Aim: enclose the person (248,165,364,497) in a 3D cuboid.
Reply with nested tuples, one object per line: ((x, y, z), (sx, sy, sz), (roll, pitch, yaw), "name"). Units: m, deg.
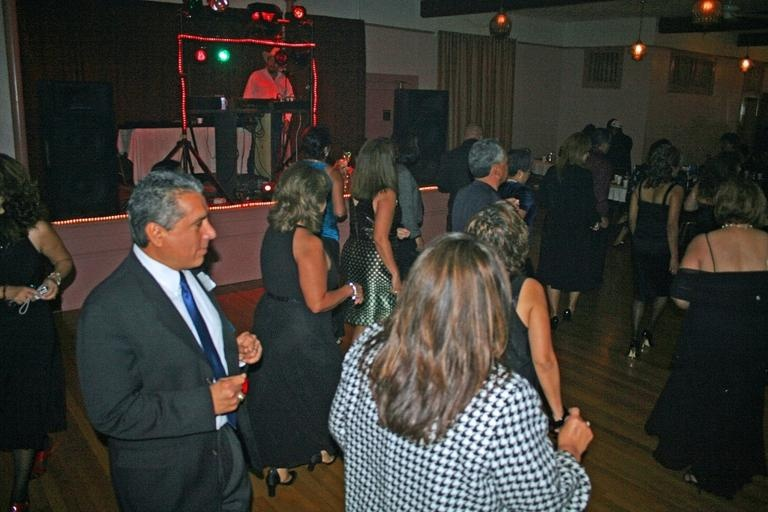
((-0.543, 0.496, 3.728), (0.665, 2.089, 0.374), (-1, 13, -5), "person")

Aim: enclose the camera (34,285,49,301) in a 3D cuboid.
((-1.966, 0.207, 3.389), (0.074, 0.053, 0.020), (-36, -2, -9), "camera")

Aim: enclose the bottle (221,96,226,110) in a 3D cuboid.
((-2.049, -1.949, 7.562), (0.045, 0.158, 0.120), (4, 14, 16), "bottle")

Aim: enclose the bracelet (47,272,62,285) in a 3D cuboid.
((-1.957, 0.133, 3.500), (0.059, 0.076, 0.068), (3, -30, -32), "bracelet")

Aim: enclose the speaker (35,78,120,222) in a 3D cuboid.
((-3.474, -0.998, 6.645), (0.951, 1.576, 0.987), (0, 36, -14), "speaker")

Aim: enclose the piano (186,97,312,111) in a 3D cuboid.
((-1.757, -1.975, 7.707), (1.557, 0.172, 0.241), (-6, 14, -26), "piano")

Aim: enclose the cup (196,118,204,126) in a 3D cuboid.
((-2.607, -1.889, 8.336), (0.111, 0.115, 0.111), (-2, 0, 0), "cup")

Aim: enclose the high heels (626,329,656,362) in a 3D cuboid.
((2.378, 0.799, 5.431), (0.163, 0.192, 0.443), (6, 33, 44), "high heels")

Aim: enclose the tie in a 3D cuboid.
((-0.828, 0.398, 2.759), (0.102, 0.847, 0.039), (-19, -13, -29), "tie")

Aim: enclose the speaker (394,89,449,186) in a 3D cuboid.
((0.593, -2.000, 9.427), (0.871, 1.477, 0.852), (-8, 29, -19), "speaker")

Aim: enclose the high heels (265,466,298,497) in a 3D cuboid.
((-0.684, 1.449, 3.899), (0.099, 0.158, 0.295), (5, 16, 27), "high heels")

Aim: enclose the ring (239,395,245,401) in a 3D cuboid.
((-0.670, 0.671, 2.762), (0.023, 0.037, 0.035), (9, -14, -17), "ring")

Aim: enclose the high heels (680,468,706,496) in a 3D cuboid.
((2.061, 1.499, 3.958), (0.060, 0.112, 0.181), (-5, 14, -20), "high heels")
